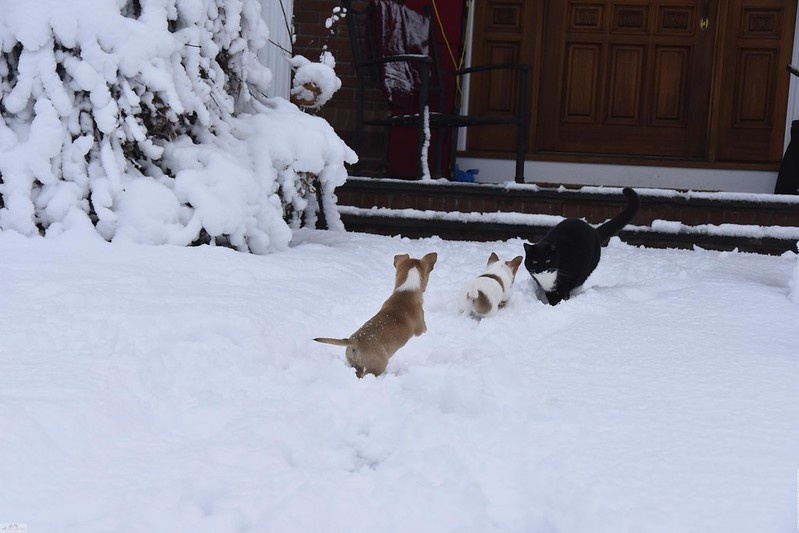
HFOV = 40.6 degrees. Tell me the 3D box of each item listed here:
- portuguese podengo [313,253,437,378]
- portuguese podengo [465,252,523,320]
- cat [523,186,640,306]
[{"bbox_3d":[-0.058,0.386,6.052,0.242,0.618,0.968,8,29,30],"label":"portuguese podengo"},{"bbox_3d":[0.558,0.146,6.567,0.199,0.392,0.587,12,18,28],"label":"portuguese podengo"},{"bbox_3d":[1.127,-0.089,6.910,0.317,0.530,1.135,21,31,33],"label":"cat"}]
